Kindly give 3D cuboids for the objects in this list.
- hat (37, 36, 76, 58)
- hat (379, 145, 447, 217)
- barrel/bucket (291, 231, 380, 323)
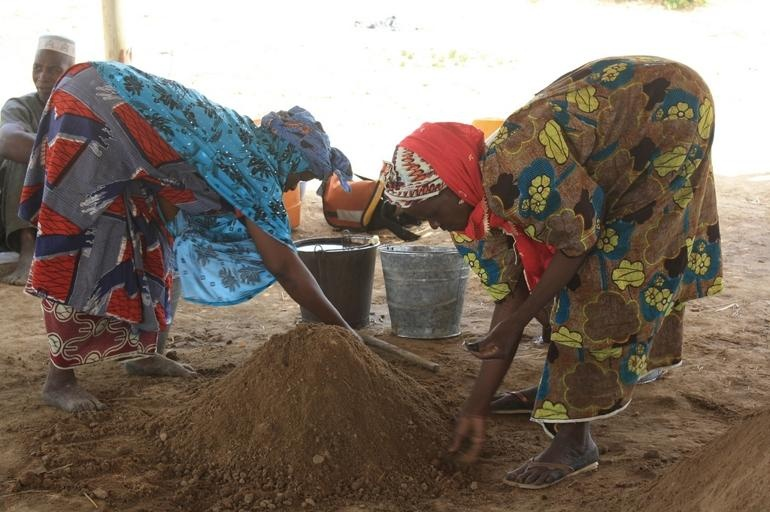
[{"bbox_3d":[-2.654,-1.714,7.384,0.337,0.185,0.234,-6,16,-32],"label":"hat"},{"bbox_3d":[0.156,-0.449,5.278,0.474,0.314,0.321,9,11,-31],"label":"hat"},{"bbox_3d":[-0.512,0.189,7.533,0.799,0.663,0.868,-4,1,0],"label":"barrel/bucket"}]
